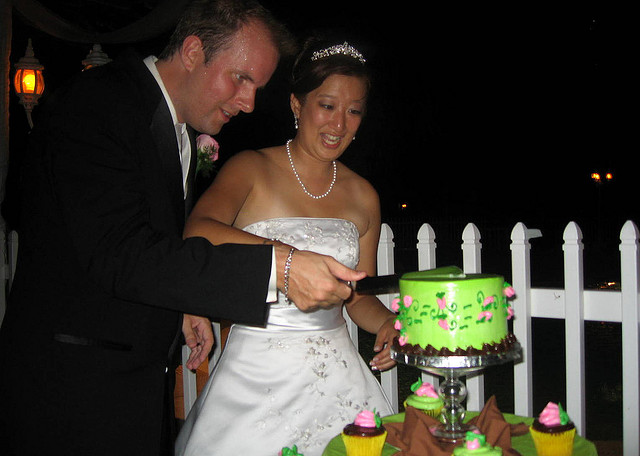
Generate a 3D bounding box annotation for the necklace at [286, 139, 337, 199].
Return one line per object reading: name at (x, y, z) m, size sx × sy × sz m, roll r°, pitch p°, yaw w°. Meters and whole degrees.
necklace at (-0.073, -0.444, 4.383) m, size 0.411 × 0.459 × 0.232 m, roll 5°, pitch -3°, yaw -5°

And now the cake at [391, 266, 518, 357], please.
cake at (0.740, 0.496, 3.169) m, size 0.679 × 0.454 × 0.719 m, roll -6°, pitch -15°, yaw 33°

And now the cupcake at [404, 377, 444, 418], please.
cupcake at (0.589, 0.949, 3.250) m, size 0.190 × 0.198 × 0.196 m, roll -1°, pitch -3°, yaw 22°

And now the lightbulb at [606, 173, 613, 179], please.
lightbulb at (20.221, -3.610, 39.966) m, size 0.257 × 0.335 × 0.345 m, roll 11°, pitch -30°, yaw 2°

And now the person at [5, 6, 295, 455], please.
person at (-0.970, -0.055, 3.080) m, size 1.339 × 2.657 × 0.524 m, roll 5°, pitch -4°, yaw -11°

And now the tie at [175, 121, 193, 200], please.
tie at (-0.864, -0.481, 3.584) m, size 0.025 × 0.480 × 0.132 m, roll 6°, pitch 14°, yaw 26°
